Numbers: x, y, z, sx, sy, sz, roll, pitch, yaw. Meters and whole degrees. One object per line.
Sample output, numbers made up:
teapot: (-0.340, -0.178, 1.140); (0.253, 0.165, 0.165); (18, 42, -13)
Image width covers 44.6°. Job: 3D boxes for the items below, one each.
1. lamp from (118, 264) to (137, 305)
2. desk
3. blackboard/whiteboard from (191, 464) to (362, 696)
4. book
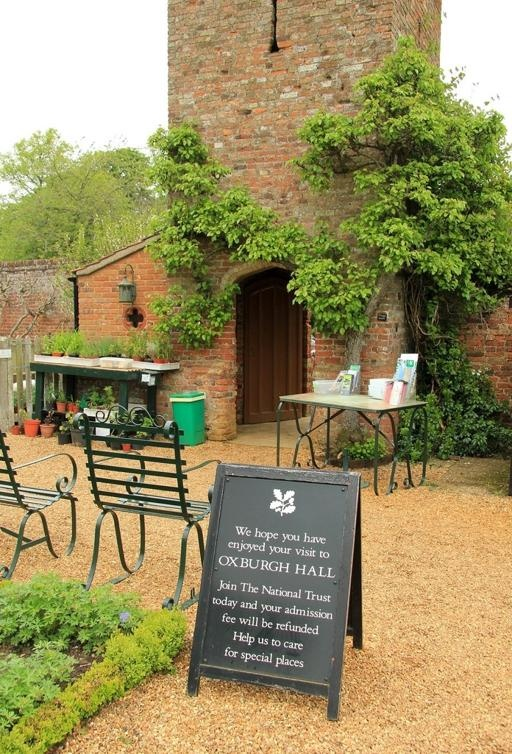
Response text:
lamp: (-1.820, -1.325, 8.923); (0.241, 0.571, 0.398); (1, 3, -7)
desk: (1.027, 0.669, 6.414); (1.571, 0.989, 1.072); (3, 6, 34)
blackboard/whiteboard: (0.064, 0.793, 2.431); (0.600, 0.829, 0.363); (3, 4, 17)
book: (1.242, -0.007, 6.166); (0.453, 0.449, 0.918); (0, 3, -27)
